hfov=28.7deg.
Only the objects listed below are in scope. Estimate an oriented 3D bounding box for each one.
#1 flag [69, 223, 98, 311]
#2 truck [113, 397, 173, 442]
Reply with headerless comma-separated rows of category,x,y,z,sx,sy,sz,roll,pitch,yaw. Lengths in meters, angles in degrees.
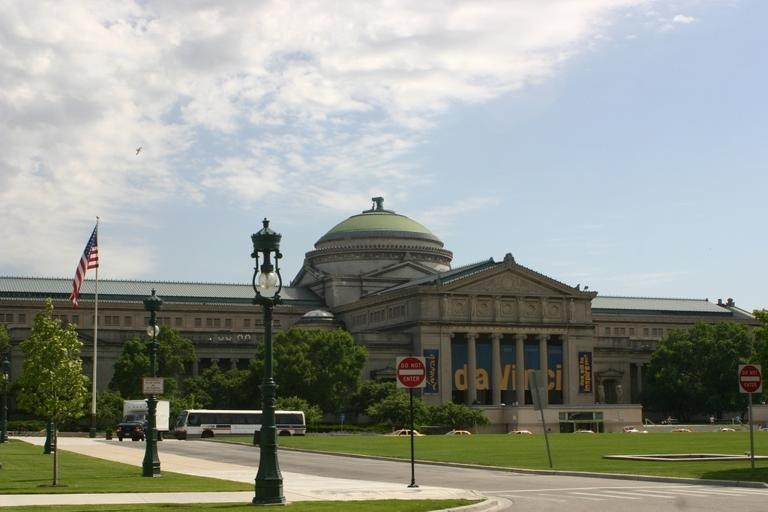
flag,-29.842,1.003,150.179,2.901,8.792,1.218,7,26,-7
truck,-24.998,16.790,155.351,3.750,3.300,7.063,4,4,13
